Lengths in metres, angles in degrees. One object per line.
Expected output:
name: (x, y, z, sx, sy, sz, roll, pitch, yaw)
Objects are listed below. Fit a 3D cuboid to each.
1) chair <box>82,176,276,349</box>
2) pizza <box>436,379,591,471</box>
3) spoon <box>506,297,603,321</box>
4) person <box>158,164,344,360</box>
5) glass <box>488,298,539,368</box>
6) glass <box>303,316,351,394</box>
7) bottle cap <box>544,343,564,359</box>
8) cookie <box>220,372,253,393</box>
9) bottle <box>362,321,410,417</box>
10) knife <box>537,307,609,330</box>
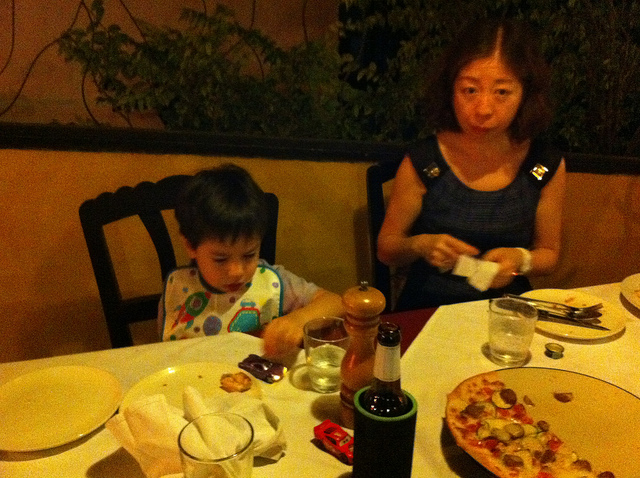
chair: (-0.499, 0.067, 1.881, 0.396, 0.705, 0.366, -17, 32, -26)
pizza: (0.440, 0.442, 1.229, 0.286, 0.107, 0.255, -3, 16, -18)
spoon: (0.729, 0.220, 1.600, 0.257, 0.036, 0.036, 7, 12, 20)
person: (-0.281, 0.074, 1.877, 0.538, 0.769, 0.391, -13, 23, -30)
glass: (0.537, 0.259, 1.488, 0.164, 0.193, 0.169, 0, 11, -4)
glass: (0.016, 0.311, 1.429, 0.155, 0.188, 0.173, 0, 15, -1)
bottle cap: (0.680, 0.321, 1.500, 0.054, 0.032, 0.050, 5, 16, 10)
cookie: (-0.214, 0.371, 1.334, 0.096, 0.027, 0.059, 11, 18, 30)
bottle: (0.150, 0.249, 1.131, 0.098, 0.204, 0.202, 3, 16, 6)
knife: (0.785, 0.251, 1.603, 0.164, 0.018, 0.024, 16, 30, 22)
